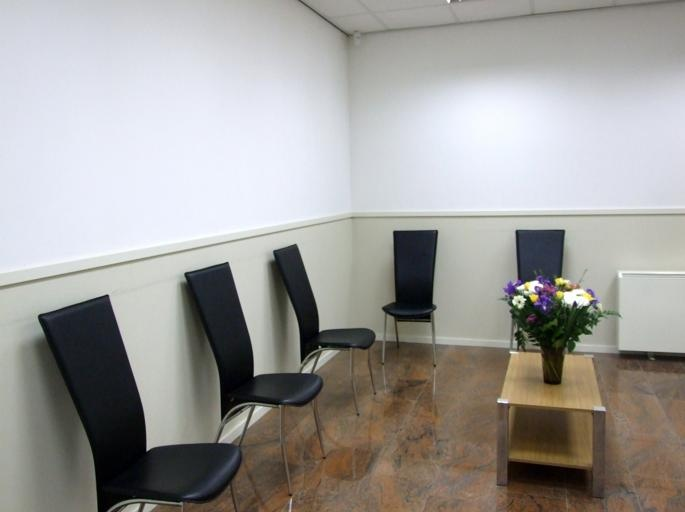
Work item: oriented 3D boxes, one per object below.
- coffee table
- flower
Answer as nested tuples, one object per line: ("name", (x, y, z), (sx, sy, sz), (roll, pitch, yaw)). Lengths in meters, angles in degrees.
("coffee table", (1.299, 0.883, 3.296), (0.598, 0.310, 0.372), (1, 49, 11))
("flower", (1.337, 0.495, 3.188), (0.496, 0.582, 0.524), (0, -10, -18))
